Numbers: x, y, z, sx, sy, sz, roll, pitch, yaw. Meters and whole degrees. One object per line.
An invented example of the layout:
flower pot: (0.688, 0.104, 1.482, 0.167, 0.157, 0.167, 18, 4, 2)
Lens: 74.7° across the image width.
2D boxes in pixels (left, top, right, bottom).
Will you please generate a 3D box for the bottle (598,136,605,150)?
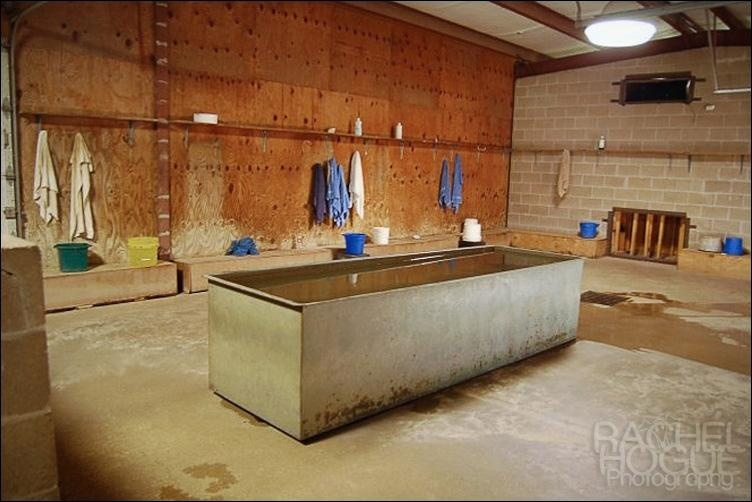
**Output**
bottle: (4.644, -2.222, 10.109, 0.135, 0.259, 0.064, 5, -1, 24)

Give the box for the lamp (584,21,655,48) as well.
lamp: (2.859, -2.574, 5.823, 0.733, 0.148, 0.672, 1, 5, 11)

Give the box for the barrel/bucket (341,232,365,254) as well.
barrel/bucket: (-0.359, -0.125, 7.898, 0.318, 0.335, 0.547, -4, 7, -34)

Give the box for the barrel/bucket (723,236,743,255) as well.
barrel/bucket: (6.297, -0.101, 8.665, 0.314, 0.316, 0.362, 5, 7, 39)

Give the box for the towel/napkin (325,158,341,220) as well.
towel/napkin: (-0.744, -1.015, 8.293, 0.226, 1.064, 0.241, -2, 7, -16)

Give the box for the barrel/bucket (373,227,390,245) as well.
barrel/bucket: (0.085, -0.273, 8.688, 0.277, 0.301, 0.383, -1, 6, -8)

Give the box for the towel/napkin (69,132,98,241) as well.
towel/napkin: (-3.711, -0.800, 6.162, 0.308, 1.334, 0.153, -4, 7, -28)

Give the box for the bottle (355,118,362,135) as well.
bottle: (-0.303, -2.149, 8.496, 0.133, 0.345, 0.337, 0, 6, 1)

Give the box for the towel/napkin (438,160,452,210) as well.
towel/napkin: (1.436, -1.366, 10.091, 0.129, 1.004, 0.376, 6, 9, 43)

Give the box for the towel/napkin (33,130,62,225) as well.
towel/napkin: (-3.987, -0.894, 5.921, 0.261, 1.113, 0.147, -4, 8, -33)

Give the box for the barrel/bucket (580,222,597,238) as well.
barrel/bucket: (4.414, -0.445, 10.150, 0.340, 0.231, 0.300, -1, 6, -1)

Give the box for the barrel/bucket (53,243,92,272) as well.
barrel/bucket: (-3.679, 0.067, 6.002, 0.349, 0.343, 0.391, -2, 6, -21)

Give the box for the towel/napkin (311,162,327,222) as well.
towel/napkin: (-0.924, -0.967, 8.205, 0.184, 1.000, 0.358, 4, 8, 33)

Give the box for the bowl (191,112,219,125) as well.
bowl: (-2.392, -1.853, 6.869, 0.317, 0.152, 0.168, -3, 6, -27)

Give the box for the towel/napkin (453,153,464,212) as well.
towel/napkin: (1.742, -1.436, 10.329, 0.150, 1.164, 0.473, 4, 8, 34)

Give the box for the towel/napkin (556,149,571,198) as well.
towel/napkin: (4.062, -1.657, 10.654, 0.294, 1.074, 0.177, 4, 8, 32)

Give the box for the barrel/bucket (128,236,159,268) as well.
barrel/bucket: (-2.974, -0.012, 6.403, 0.395, 0.332, 0.395, 4, 8, -1)

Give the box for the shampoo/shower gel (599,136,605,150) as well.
shampoo/shower gel: (4.663, -2.221, 10.131, 0.144, 0.279, 0.112, 2, 7, 22)
